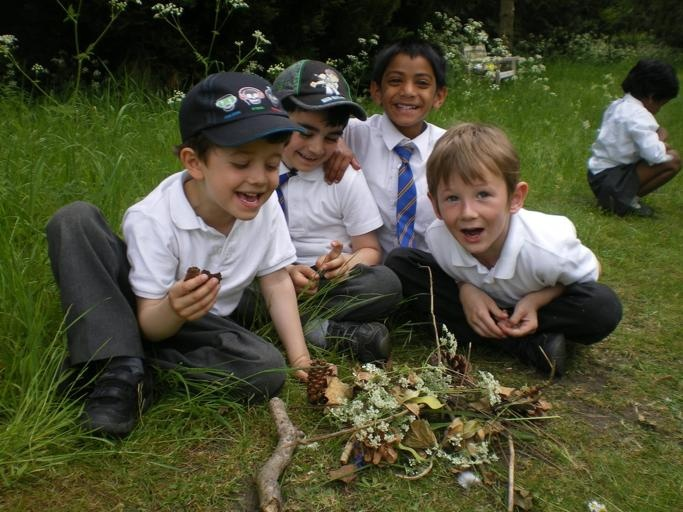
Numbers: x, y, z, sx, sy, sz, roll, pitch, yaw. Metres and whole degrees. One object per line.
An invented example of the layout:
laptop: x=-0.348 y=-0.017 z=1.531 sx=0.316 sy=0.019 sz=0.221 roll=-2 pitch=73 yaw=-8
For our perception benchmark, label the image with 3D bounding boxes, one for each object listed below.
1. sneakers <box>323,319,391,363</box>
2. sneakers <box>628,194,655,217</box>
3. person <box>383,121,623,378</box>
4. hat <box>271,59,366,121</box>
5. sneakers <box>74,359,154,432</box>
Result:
sneakers: x=0.040 y=0.438 z=3.060 sx=0.419 sy=0.184 sz=0.150 roll=7 pitch=5 yaw=29
sneakers: x=2.745 y=-0.458 z=5.262 sx=0.211 sy=0.147 sz=0.246 roll=10 pitch=24 yaw=25
person: x=0.831 y=-0.049 z=3.010 sx=1.184 sy=1.194 sz=0.470 roll=10 pitch=24 yaw=25
hat: x=-0.151 y=-0.909 z=3.250 sx=0.488 sy=0.262 sz=0.324 roll=11 pitch=13 yaw=39
sneakers: x=-0.953 y=0.587 z=2.432 sx=0.238 sy=0.274 sz=0.285 roll=-2 pitch=22 yaw=-4
